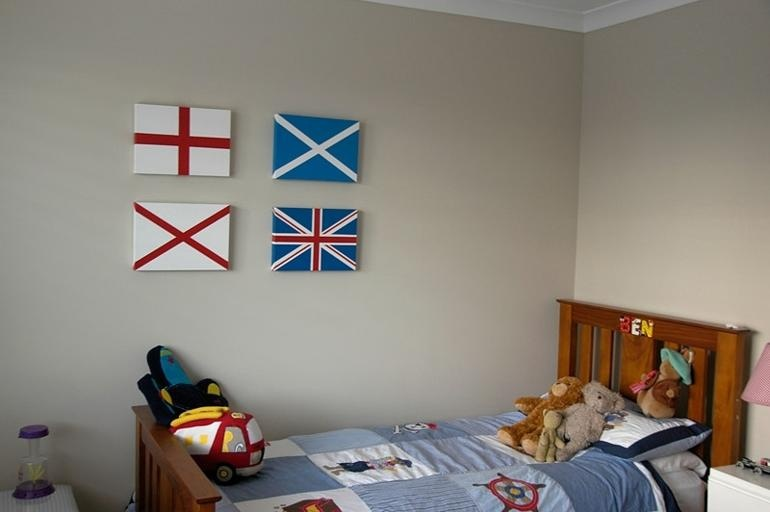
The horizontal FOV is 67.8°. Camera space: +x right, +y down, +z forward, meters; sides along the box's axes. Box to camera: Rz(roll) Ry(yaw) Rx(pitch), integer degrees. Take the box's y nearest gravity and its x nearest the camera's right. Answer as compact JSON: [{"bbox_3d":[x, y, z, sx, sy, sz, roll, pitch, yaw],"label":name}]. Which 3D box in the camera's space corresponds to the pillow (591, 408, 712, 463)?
[{"bbox_3d":[1.398,0.940,2.995,0.315,0.096,0.317,-9,-2,-2],"label":"pillow"}]

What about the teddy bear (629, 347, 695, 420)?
[{"bbox_3d":[1.572,0.699,3.237,0.224,0.425,0.271,4,14,-37],"label":"teddy bear"}]

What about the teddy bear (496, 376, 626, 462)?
[{"bbox_3d":[1.002,0.912,3.206,0.498,0.187,0.454,-21,8,-21],"label":"teddy bear"}]

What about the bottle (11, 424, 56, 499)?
[{"bbox_3d":[-1.783,1.042,2.909,0.184,0.314,0.200,-2,-6,0],"label":"bottle"}]

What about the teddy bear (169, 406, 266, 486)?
[{"bbox_3d":[-0.822,0.908,2.786,0.491,0.301,0.251,-1,1,13],"label":"teddy bear"}]
